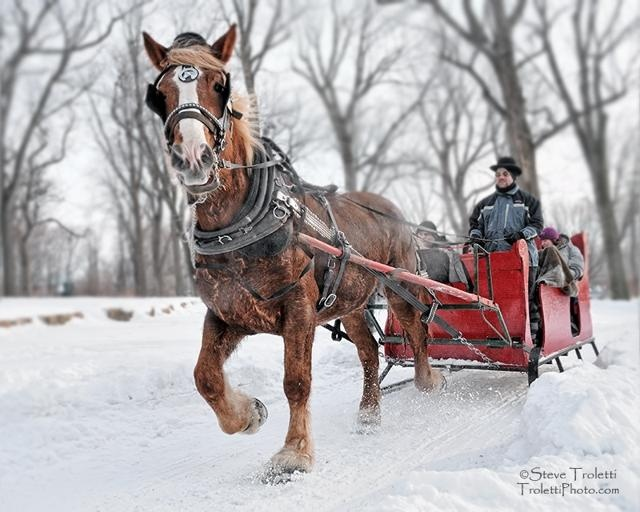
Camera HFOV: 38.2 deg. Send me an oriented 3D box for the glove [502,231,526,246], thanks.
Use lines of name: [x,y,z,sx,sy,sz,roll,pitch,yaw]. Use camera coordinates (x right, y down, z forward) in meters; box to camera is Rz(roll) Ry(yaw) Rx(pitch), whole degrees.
glove: [2.126,-0.206,10.049,0.188,0.064,0.179,-16,-5,-1]

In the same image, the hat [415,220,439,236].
hat: [1.318,-0.342,11.226,0.248,0.256,0.344,3,-3,11]

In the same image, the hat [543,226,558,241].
hat: [2.795,-0.263,11.279,0.221,0.154,0.212,-13,-3,-8]

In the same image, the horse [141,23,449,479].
horse: [-0.123,0.228,9.557,1.374,3.817,5.293,-3,-4,31]
